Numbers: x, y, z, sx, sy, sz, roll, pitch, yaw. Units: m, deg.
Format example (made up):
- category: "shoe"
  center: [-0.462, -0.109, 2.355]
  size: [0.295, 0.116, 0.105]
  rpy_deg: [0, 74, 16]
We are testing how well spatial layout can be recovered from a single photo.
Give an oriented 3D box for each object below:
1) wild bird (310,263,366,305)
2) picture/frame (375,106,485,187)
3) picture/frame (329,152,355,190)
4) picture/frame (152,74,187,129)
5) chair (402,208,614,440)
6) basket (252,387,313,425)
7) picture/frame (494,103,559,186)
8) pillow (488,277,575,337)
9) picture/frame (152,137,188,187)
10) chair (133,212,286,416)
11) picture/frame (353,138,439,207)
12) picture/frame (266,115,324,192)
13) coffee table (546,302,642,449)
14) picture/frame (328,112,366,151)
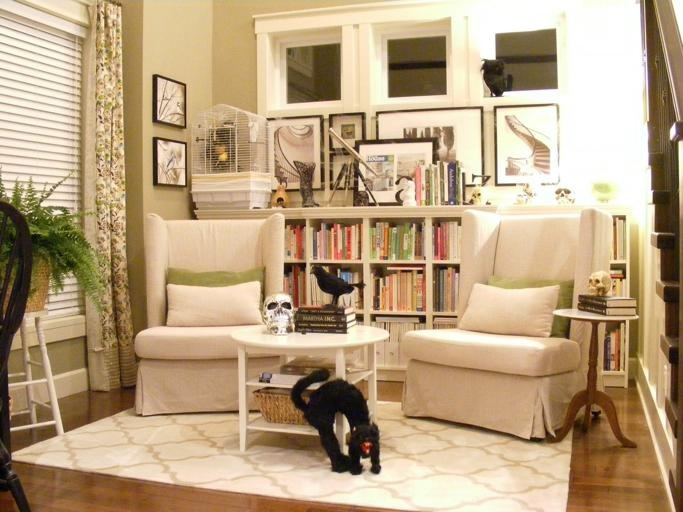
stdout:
- category: "wild bird"
  center: [-0.037, 0.190, 3.600]
  size: [0.280, 0.268, 0.427]
  rpy_deg: [-1, 7, -6]
- category: "picture/frame"
  center: [0.773, -0.920, 4.977]
  size: [0.914, 0.715, 0.028]
  rpy_deg: [-1, -10, 2]
- category: "picture/frame"
  center: [0.012, -0.734, 5.172]
  size: [0.294, 0.301, 0.072]
  rpy_deg: [8, 4, 44]
- category: "picture/frame"
  center: [-1.447, -1.295, 4.983]
  size: [0.353, 0.378, 0.027]
  rpy_deg: [17, 20, 26]
- category: "chair"
  center: [1.070, 0.285, 3.874]
  size: [1.264, 1.493, 1.442]
  rpy_deg: [0, 5, 12]
- category: "basket"
  center: [-0.361, 0.855, 3.310]
  size: [0.250, 0.110, 0.198]
  rpy_deg: [-1, -6, 14]
- category: "picture/frame"
  center: [1.557, -0.933, 4.847]
  size: [0.619, 0.831, 0.037]
  rpy_deg: [0, 4, 11]
- category: "pillow"
  center: [1.208, 0.339, 3.689]
  size: [0.328, 0.253, 0.118]
  rpy_deg: [4, 3, 32]
- category: "picture/frame"
  center: [-1.460, -0.786, 4.986]
  size: [0.035, 0.394, 0.390]
  rpy_deg: [4, 7, 22]
- category: "chair"
  center: [-0.948, 0.382, 4.205]
  size: [0.960, 1.344, 1.058]
  rpy_deg: [1, 2, -4]
- category: "picture/frame"
  center: [0.484, -0.687, 4.915]
  size: [0.575, 0.530, 0.041]
  rpy_deg: [0, -1, 6]
- category: "picture/frame"
  center: [-0.403, -0.918, 5.260]
  size: [0.659, 0.920, 0.069]
  rpy_deg: [0, 1, 13]
- category: "coffee table"
  center: [1.501, 0.693, 3.480]
  size: [0.477, 0.781, 0.540]
  rpy_deg: [2, 8, 20]
- category: "picture/frame"
  center: [0.051, -1.091, 5.161]
  size: [0.312, 0.344, 0.024]
  rpy_deg: [-3, -16, 5]
